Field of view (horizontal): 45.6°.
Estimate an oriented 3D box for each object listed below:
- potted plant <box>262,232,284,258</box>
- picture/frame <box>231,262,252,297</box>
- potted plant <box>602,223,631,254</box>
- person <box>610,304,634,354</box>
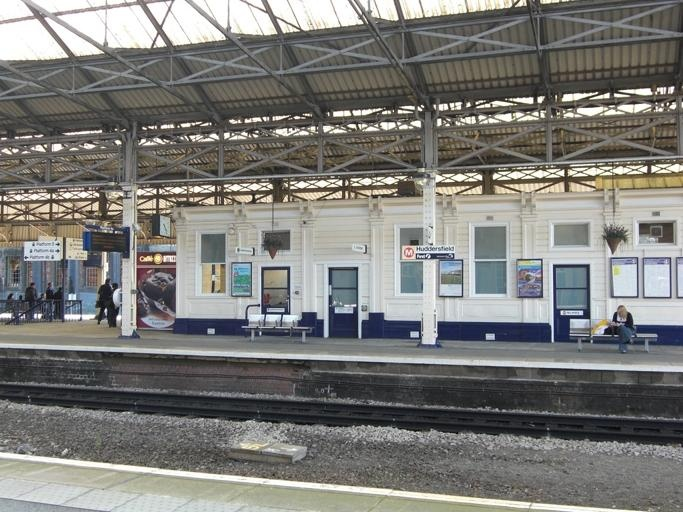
[{"bbox_3d":[-2.229,-0.353,26.113,0.624,0.815,0.521,9,15,41],"label":"potted plant"},{"bbox_3d":[-3.262,0.741,26.352,0.100,1.165,1.013,0,0,42],"label":"picture/frame"},{"bbox_3d":[7.895,-0.571,23.237,0.946,0.735,0.838,5,-2,-22],"label":"potted plant"},{"bbox_3d":[7.552,1.917,21.466,0.650,1.106,1.042,0,11,5],"label":"person"}]
